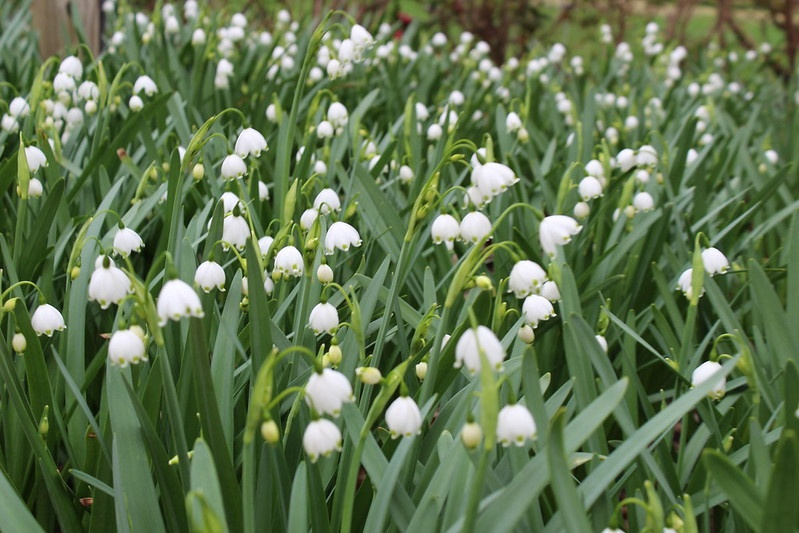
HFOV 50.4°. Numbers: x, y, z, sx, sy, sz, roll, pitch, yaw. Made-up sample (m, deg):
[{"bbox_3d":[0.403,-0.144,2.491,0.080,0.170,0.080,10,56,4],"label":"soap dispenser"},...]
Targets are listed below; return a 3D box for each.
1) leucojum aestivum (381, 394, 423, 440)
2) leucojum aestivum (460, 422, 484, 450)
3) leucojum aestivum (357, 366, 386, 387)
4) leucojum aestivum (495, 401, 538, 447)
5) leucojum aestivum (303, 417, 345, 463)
[{"bbox_3d":[0.021,0.446,2.507,0.087,0.148,0.102,1,10,23],"label":"leucojum aestivum"},{"bbox_3d":[0.202,0.475,2.404,0.058,0.093,0.067,-1,4,4],"label":"leucojum aestivum"},{"bbox_3d":[-0.084,0.330,2.563,0.078,0.047,0.050,23,-3,-27],"label":"leucojum aestivum"},{"bbox_3d":[0.340,0.459,2.515,0.104,0.131,0.106,-13,-1,37],"label":"leucojum aestivum"},{"bbox_3d":[-0.224,0.497,2.462,0.123,0.082,0.056,-40,-10,28],"label":"leucojum aestivum"}]
